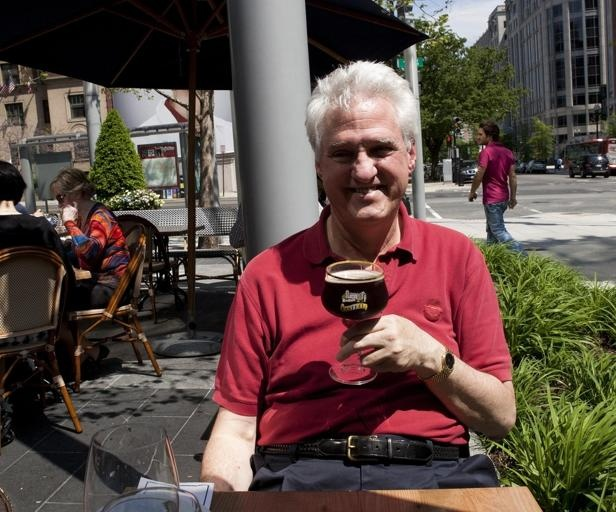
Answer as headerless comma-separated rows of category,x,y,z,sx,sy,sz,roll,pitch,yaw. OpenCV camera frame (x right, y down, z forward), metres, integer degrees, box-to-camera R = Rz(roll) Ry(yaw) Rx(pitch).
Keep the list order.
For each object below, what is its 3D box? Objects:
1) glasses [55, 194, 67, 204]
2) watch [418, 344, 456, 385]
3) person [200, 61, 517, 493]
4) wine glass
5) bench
glasses,-2.432,-0.584,5.306,0.104,0.037,0.112,5,-34,25
watch,0.401,0.351,1.704,0.045,0.104,0.095,43,40,14
person,0.168,0.031,1.829,1.016,1.427,0.734,-1,8,16
wine glass,0.145,0.235,1.660,0.188,0.458,0.340,-3,8,1
bench,-1.939,-0.153,8.157,1.595,0.934,0.592,-1,0,5
